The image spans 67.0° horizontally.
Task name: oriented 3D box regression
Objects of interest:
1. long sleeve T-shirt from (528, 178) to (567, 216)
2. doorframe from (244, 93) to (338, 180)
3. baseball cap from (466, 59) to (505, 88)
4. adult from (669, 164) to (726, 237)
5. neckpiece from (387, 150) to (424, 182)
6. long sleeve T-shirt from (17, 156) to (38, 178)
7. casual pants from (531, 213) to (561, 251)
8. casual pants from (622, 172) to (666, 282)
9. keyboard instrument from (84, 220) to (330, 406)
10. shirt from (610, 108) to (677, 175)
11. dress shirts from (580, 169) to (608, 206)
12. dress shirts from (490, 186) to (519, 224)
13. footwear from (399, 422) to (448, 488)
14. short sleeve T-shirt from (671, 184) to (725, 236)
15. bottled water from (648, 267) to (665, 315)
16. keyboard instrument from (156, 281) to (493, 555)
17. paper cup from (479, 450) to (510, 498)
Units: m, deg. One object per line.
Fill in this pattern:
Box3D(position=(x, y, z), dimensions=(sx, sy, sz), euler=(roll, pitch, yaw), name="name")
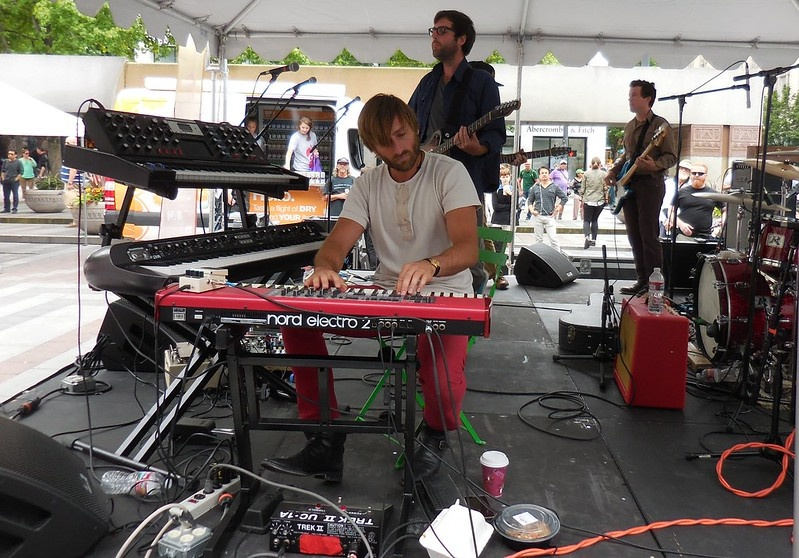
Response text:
Box3D(position=(2.350, -1.298, 9.682), dimensions=(0.653, 0.532, 0.312), euler=(4, 8, 17), name="long sleeve T-shirt")
Box3D(position=(-1.681, -2.011, 8.692), dimensions=(1.343, 1.276, 0.961), euler=(-13, 30, -41), name="doorframe")
Box3D(position=(0.655, -1.642, 4.648), dimensions=(0.276, 0.135, 0.367), euler=(9, 6, 2), name="baseball cap")
Box3D(position=(3.684, -0.747, 7.525), dimensions=(0.633, 1.402, 0.483), euler=(5, 11, 31), name="adult")
Box3D(position=(0.032, -0.585, 3.067), dimensions=(0.136, 0.162, 0.184), euler=(-12, -26, -3), name="neckpiece")
Box3D(position=(-9.498, -2.848, 15.380), dimensions=(0.553, 0.678, 0.411), euler=(-2, 0, -35), name="long sleeve T-shirt")
Box3D(position=(2.395, -0.791, 9.919), dimensions=(0.369, 1.108, 0.279), euler=(-4, 43, 17), name="casual pants")
Box3D(position=(2.419, -0.513, 5.919), dimensions=(0.260, 1.248, 0.315), euler=(21, -23, -32), name="casual pants")
Box3D(position=(-1.007, 0.040, 3.841), dimensions=(0.684, 0.692, 1.882), euler=(-2, 7, 23), name="keyboard instrument")
Box3D(position=(2.347, -1.297, 5.791), dimensions=(0.354, 0.616, 0.613), euler=(-8, 14, -41), name="shirt")
Box3D(position=(3.206, -1.551, 9.905), dimensions=(0.436, 0.594, 0.289), euler=(5, 27, 16), name="dress shirts")
Box3D(position=(1.537, -1.152, 9.036), dimensions=(0.316, 0.715, 0.242), euler=(4, 13, 1), name="dress shirts")
Box3D(position=(0.131, 0.917, 3.126), dimensions=(0.153, 0.279, 0.443), euler=(4, 2, 29), name="footwear")
Box3D(position=(3.755, -0.843, 7.627), dimensions=(0.698, 0.716, 0.406), euler=(5, -5, 31), name="short sleeve T-shirt")
Box3D(position=(1.732, 0.073, 4.059), dimensions=(0.103, 0.272, 0.282), euler=(5, 11, 23), name="bottled water")
Box3D(position=(-0.391, 0.590, 2.856), dimensions=(1.439, 1.021, 0.721), euler=(0, -5, -3), name="keyboard instrument")
Box3D(position=(0.479, 0.990, 3.142), dimensions=(0.198, 0.205, 0.199), euler=(-3, 11, 1), name="paper cup")
